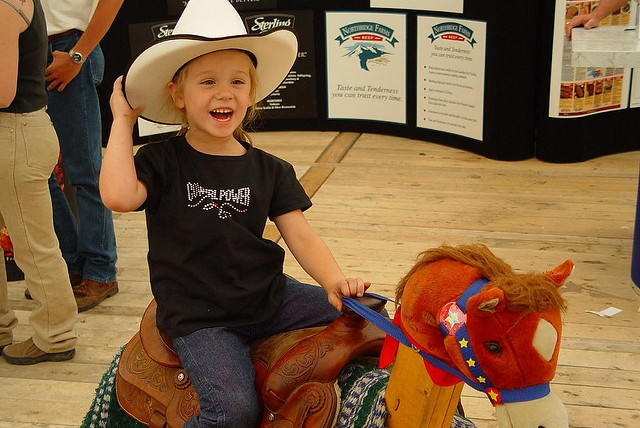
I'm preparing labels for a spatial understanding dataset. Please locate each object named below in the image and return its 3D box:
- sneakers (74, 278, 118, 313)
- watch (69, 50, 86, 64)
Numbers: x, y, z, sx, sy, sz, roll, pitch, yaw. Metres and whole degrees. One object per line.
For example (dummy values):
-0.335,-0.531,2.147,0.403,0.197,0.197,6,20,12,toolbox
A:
-1.711,0.588,3.768,0.154,0.176,0.411,-3,15,30,sneakers
-1.609,-1.041,3.324,0.061,0.095,0.092,20,16,-17,watch
